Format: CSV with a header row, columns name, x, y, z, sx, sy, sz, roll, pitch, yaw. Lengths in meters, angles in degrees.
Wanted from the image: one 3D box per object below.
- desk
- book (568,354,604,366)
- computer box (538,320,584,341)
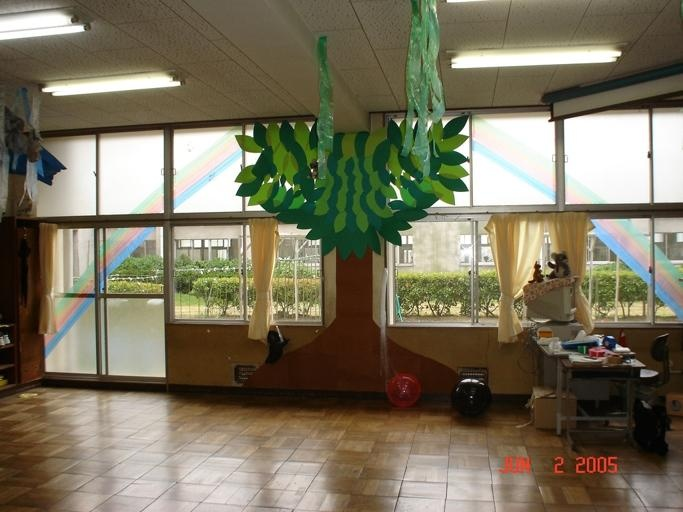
name,x,y,z,sx,sy,sz,roll,pitch,yaw
desk,2.932,1.135,6.695,0.935,0.910,1.801,0,-2,11
book,2.752,1.168,6.428,0.365,0.057,0.387,-1,6,3
computer box,2.764,0.934,7.130,0.386,0.200,0.283,0,-1,18
